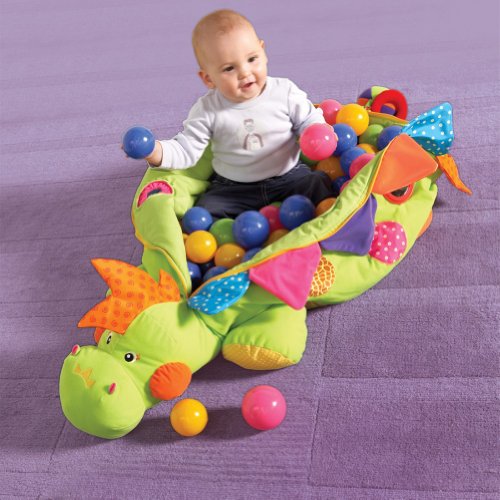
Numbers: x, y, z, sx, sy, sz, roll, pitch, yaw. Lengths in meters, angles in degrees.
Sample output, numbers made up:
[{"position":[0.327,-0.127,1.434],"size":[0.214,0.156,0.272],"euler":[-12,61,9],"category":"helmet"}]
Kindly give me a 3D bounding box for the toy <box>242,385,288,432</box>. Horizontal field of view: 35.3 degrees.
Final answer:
[{"position":[0.036,0.384,1.885],"size":[0.100,0.091,0.081],"euler":[-16,36,3],"category":"toy"}]

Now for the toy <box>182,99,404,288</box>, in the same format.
[{"position":[0.234,-0.085,2.288],"size":[0.680,0.202,0.471],"euler":[-30,33,14],"category":"toy"}]

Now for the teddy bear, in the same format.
[{"position":[0.115,0.125,2.192],"size":[1.140,0.360,0.719],"euler":[-40,43,-12],"category":"teddy bear"}]
